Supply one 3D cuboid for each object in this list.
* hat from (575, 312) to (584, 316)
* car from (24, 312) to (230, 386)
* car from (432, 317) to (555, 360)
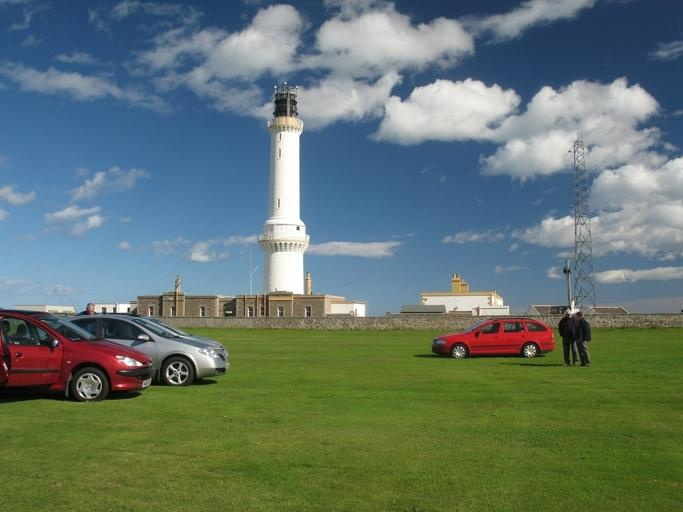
[{"bbox_3d":[7.474,1.809,20.881,0.150,0.071,0.202,1,-7,-13],"label":"hat"},{"bbox_3d":[-4.998,2.246,17.137,3.961,1.336,1.842,1,-2,1],"label":"car"},{"bbox_3d":[5.735,3.158,24.975,4.103,1.272,1.757,2,-8,3],"label":"car"}]
